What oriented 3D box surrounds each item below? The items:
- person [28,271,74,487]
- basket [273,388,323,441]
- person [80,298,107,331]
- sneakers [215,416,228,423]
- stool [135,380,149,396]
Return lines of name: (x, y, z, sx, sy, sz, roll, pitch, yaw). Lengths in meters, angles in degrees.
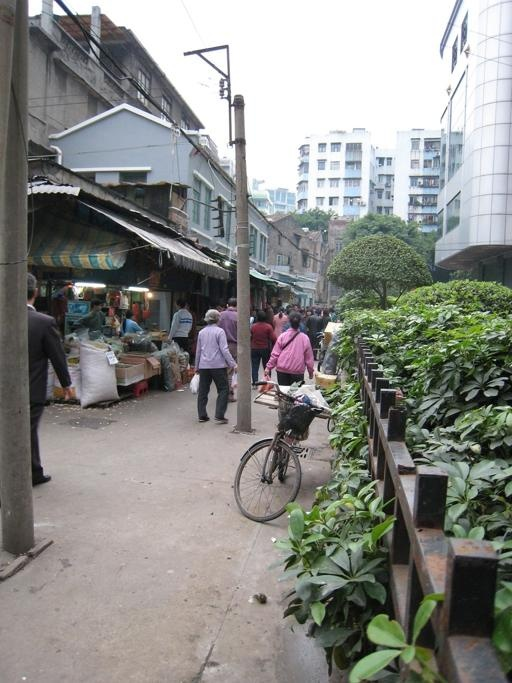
person: (-1.723, 0.320, 4.713, 0.338, 1.740, 0.755, 1, 4, -18)
basket: (0.312, 0.592, 4.479, 0.366, 0.375, 0.321, 8, 6, 1)
person: (-2.768, -0.459, 9.658, 0.400, 0.528, 0.992, 2, 4, -16)
sneakers: (-0.463, 1.046, 7.668, 0.186, 0.094, 0.067, 2, 4, -4)
stool: (-1.900, 0.774, 9.432, 0.177, 0.135, 0.258, 0, 6, 7)
